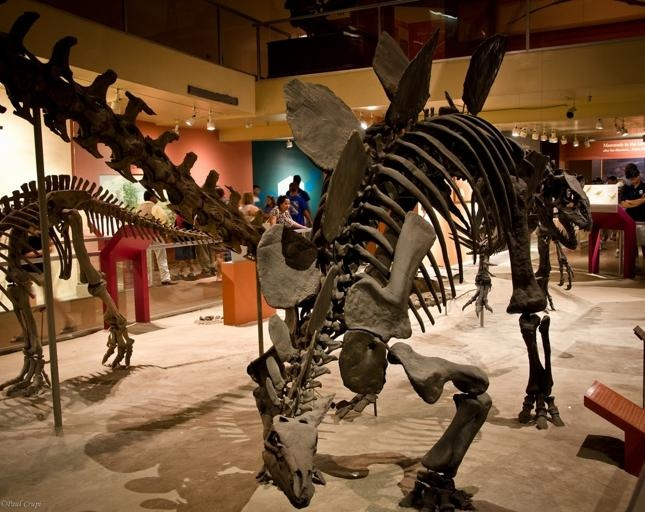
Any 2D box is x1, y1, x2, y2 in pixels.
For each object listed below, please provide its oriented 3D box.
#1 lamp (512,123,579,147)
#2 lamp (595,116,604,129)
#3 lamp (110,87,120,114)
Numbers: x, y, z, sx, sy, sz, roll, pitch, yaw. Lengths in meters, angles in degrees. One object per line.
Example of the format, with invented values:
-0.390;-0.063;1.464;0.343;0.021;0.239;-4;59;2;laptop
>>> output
5.246;-2.960;11.740;1.497;0.380;1.421;5;6;16;lamp
5.698;-2.776;10.172;0.205;0.358;0.207;1;1;30;lamp
-3.536;-2.665;8.521;0.169;0.414;0.975;-2;4;-22;lamp
